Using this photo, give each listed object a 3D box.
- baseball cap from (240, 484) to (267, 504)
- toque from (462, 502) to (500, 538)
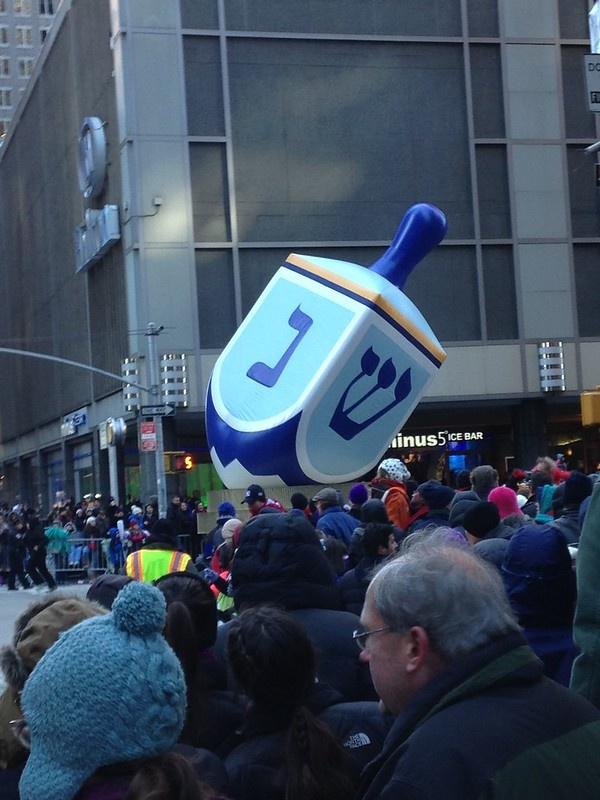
[{"bbox_3d":[-0.350,0.867,9.868,0.290,0.149,0.197,-1,-4,-40],"label":"baseball cap"},{"bbox_3d":[1.152,0.741,6.687,0.214,0.178,0.247,4,-24,2],"label":"toque"}]
